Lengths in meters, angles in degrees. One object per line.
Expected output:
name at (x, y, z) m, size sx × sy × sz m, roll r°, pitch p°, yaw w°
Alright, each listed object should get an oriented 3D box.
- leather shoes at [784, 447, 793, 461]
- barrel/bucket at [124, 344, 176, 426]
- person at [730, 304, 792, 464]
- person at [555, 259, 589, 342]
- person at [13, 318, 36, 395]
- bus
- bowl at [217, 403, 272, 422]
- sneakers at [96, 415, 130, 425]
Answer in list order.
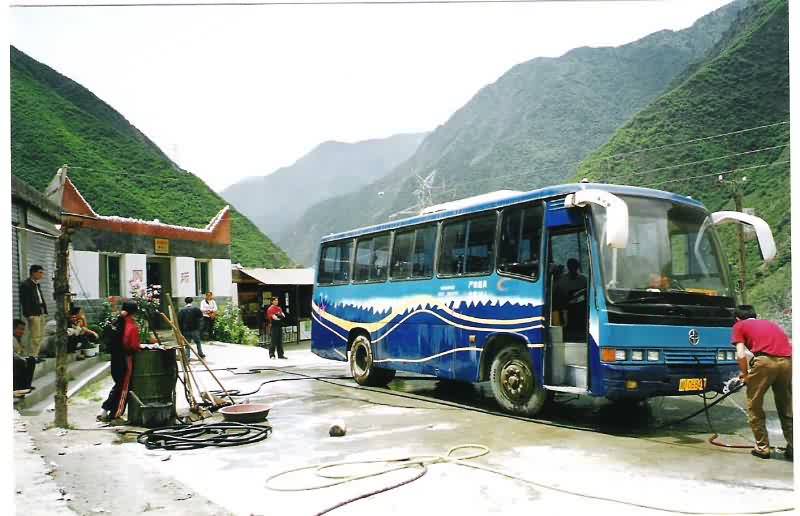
leather shoes at (6.871, 3.439, 11.297) m, size 0.102 × 0.213 × 0.169 m, roll 1°, pitch 4°, yaw 26°
barrel/bucket at (-5.379, 2.780, 13.864) m, size 1.038 × 1.641 × 0.870 m, roll -3°, pitch 4°, yaw -21°
person at (6.582, 2.256, 11.636) m, size 0.985 × 2.559 × 0.731 m, roll 1°, pitch 5°, yaw 27°
person at (3.629, 0.878, 13.630) m, size 0.626 × 1.739 × 0.429 m, roll 0°, pitch 5°, yaw 19°
person at (-9.212, 2.351, 15.595) m, size 0.454 × 1.538 × 2.137 m, roll -4°, pitch 4°, yaw -31°
bus at (2.596, 1.057, 17.714) m, size 4.564 × 4.871 × 12.812 m, roll 6°, pitch -8°, yaw -34°
bowl at (-3.485, 3.446, 14.227) m, size 0.961 × 0.304 × 0.786 m, roll -3°, pitch 4°, yaw -30°
sneakers at (-6.333, 3.582, 14.090) m, size 0.484 × 0.112 × 0.292 m, roll 0°, pitch -5°, yaw 8°
